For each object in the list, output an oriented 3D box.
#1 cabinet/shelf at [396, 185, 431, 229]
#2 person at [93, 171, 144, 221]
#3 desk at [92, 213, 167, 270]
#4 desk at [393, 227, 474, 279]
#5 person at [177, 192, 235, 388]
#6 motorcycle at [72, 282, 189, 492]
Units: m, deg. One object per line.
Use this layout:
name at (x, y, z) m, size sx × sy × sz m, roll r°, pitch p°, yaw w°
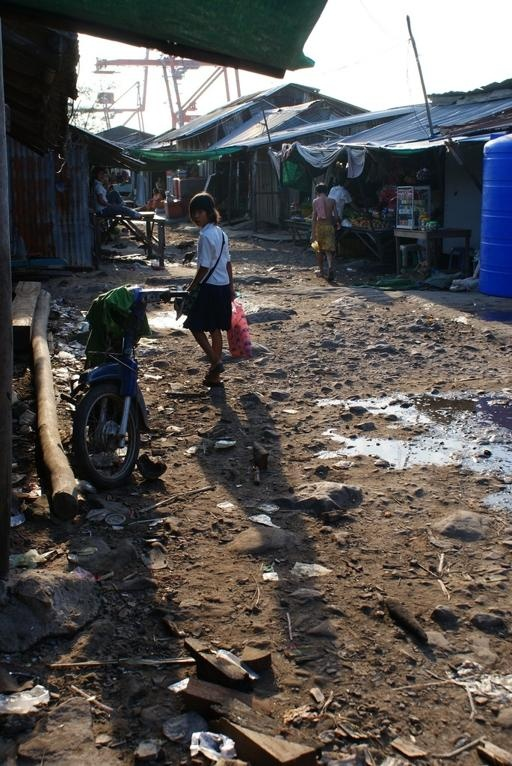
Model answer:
cabinet/shelf at (2.858, -3.167, 11.776) m, size 0.505 × 0.934 × 0.695 m, roll -4°, pitch 18°, yaw -14°
person at (-3.018, -3.854, 13.800) m, size 0.812 × 0.977 × 2.356 m, roll -2°, pitch 6°, yaw -14°
desk at (-3.244, -3.585, 15.778) m, size 1.676 × 0.872 × 1.771 m, roll -1°, pitch 23°, yaw -8°
desk at (3.331, -2.277, 11.740) m, size 0.949 × 0.739 × 0.912 m, roll -3°, pitch -4°, yaw -19°
person at (-0.400, -0.735, 5.456) m, size 0.418 × 1.570 × 0.626 m, roll -1°, pitch 6°, yaw -3°
motorcycle at (-0.829, 0.016, 3.651) m, size 0.388 × 1.105 × 0.760 m, roll 3°, pitch 6°, yaw 25°
